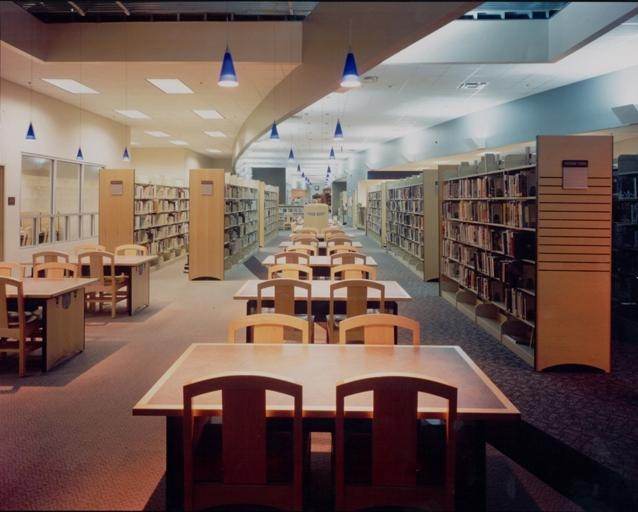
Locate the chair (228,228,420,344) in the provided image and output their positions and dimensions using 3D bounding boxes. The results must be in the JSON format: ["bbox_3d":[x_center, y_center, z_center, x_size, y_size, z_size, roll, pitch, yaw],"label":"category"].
[{"bbox_3d":[0.052,0.531,5.071,1.787,0.708,1.502,-1,6,-1],"label":"chair"}]

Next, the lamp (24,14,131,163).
[{"bbox_3d":[-4.833,-3.263,9.476,1.159,1.380,1.965,-1,5,-10],"label":"lamp"}]

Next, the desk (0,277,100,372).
[{"bbox_3d":[-2.987,0.758,5.531,0.766,0.631,0.999,0,6,4],"label":"desk"}]
